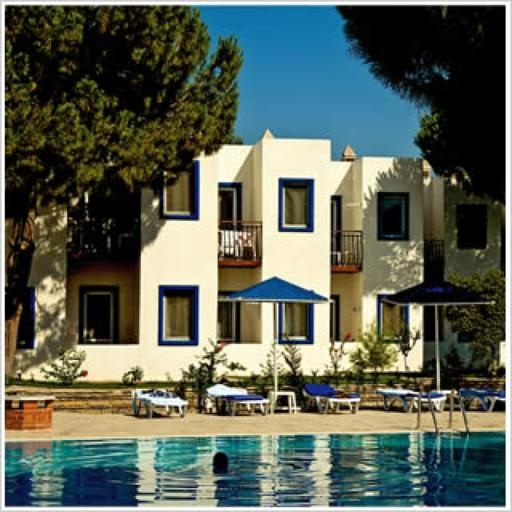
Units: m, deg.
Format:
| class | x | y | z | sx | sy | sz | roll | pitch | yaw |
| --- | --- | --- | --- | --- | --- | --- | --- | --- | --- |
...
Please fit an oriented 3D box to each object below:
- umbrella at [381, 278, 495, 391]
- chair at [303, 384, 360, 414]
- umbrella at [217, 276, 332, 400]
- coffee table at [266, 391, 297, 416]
| class | x | y | z | sx | sy | sz | roll | pitch | yaw |
| --- | --- | --- | --- | --- | --- | --- | --- | --- | --- |
| umbrella | 5.012 | 1.765 | 25.415 | 2.766 | 4.203 | 3.108 | 0 | -12 | -2 |
| chair | 1.875 | 3.737 | 24.444 | 0.721 | 0.777 | 1.264 | 3 | -14 | -25 |
| umbrella | 0.497 | 2.197 | 25.214 | 2.682 | 3.621 | 2.452 | 4 | -5 | -30 |
| coffee table | 0.683 | 3.850 | 24.626 | 0.490 | 0.551 | 0.602 | 0 | -3 | -6 |
